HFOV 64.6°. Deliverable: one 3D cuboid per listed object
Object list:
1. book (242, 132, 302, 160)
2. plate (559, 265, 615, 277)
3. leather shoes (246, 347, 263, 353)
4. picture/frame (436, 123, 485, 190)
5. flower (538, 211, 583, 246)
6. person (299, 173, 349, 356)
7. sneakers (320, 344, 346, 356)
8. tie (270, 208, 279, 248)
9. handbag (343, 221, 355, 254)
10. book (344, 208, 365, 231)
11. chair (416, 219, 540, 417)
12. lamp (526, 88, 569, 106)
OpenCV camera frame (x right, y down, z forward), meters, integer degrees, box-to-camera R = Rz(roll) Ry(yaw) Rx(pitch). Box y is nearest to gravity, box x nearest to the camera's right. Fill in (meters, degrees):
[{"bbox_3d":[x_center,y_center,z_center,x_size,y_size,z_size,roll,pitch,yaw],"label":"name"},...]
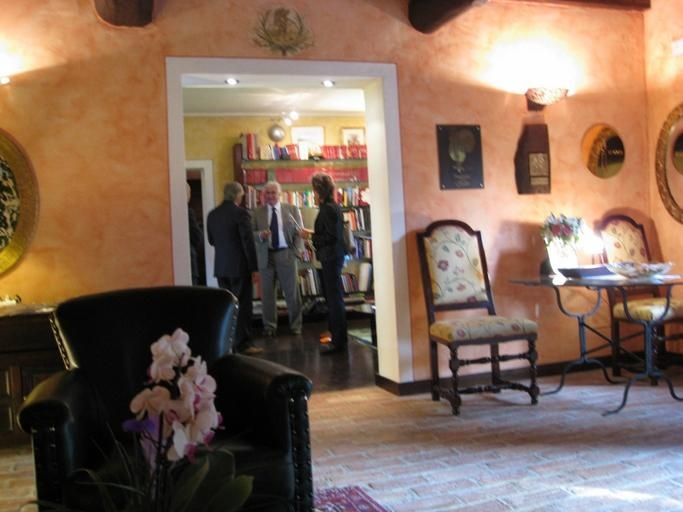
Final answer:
[{"bbox_3d":[-1.056,-1.629,8.113,0.846,0.458,0.432,-3,4,-11],"label":"book"},{"bbox_3d":[1.918,0.120,4.216,0.427,0.089,0.266,-2,4,9],"label":"plate"},{"bbox_3d":[-0.947,1.025,5.946,0.182,0.079,0.063,-4,3,-4],"label":"leather shoes"},{"bbox_3d":[0.992,-0.854,4.643,0.562,0.724,0.075,0,-6,-17],"label":"picture/frame"},{"bbox_3d":[1.845,-0.228,4.573,0.273,0.284,0.157,4,-28,18],"label":"flower"},{"bbox_3d":[-0.130,0.082,5.985,0.404,1.955,0.684,-2,3,-3],"label":"person"},{"bbox_3d":[-0.107,1.029,6.008,0.293,0.133,0.108,6,-2,-19],"label":"sneakers"},{"bbox_3d":[-0.800,-0.328,6.490,0.095,0.490,0.075,-3,3,-18],"label":"tie"},{"bbox_3d":[0.085,-0.188,5.899,0.115,0.364,0.388,-2,4,2],"label":"handbag"},{"bbox_3d":[0.172,-0.533,7.854,0.367,0.356,0.208,3,8,26],"label":"book"},{"bbox_3d":[1.092,0.424,4.336,0.898,1.435,0.818,-2,3,-2],"label":"chair"},{"bbox_3d":[1.798,-1.411,4.782,0.361,0.140,0.136,-3,4,-8],"label":"lamp"}]
